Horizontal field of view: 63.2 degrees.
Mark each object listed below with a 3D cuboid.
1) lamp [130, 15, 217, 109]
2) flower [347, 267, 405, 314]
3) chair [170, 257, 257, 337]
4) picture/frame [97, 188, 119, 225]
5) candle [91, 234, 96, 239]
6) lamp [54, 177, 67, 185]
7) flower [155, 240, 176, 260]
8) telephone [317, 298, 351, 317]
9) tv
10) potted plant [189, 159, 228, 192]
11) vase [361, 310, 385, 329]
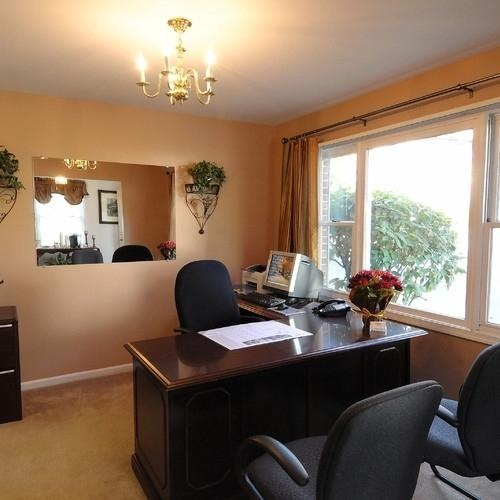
[{"bbox_3d":[-0.388,-1.017,2.203,0.409,0.407,0.457,-2,11,-12],"label":"lamp"},{"bbox_3d":[0.768,0.216,2.529,0.264,0.283,0.272,-1,6,-4],"label":"flower"},{"bbox_3d":[-0.298,0.240,3.052,0.527,0.849,0.485,-7,4,-29],"label":"chair"},{"bbox_3d":[-1.284,-0.400,3.638,0.309,0.376,0.024,-3,5,-38],"label":"picture/frame"},{"bbox_3d":[-1.385,-0.122,3.602,0.022,0.035,0.022,-1,5,-31],"label":"candle"},{"bbox_3d":[-1.598,-0.590,3.435,0.099,0.087,0.052,-1,3,-36],"label":"lamp"},{"bbox_3d":[-0.807,-0.009,4.005,0.197,0.228,0.157,-1,2,-31],"label":"flower"},{"bbox_3d":[0.573,0.397,2.806,0.167,0.060,0.123,-2,5,-4],"label":"telephone"},{"bbox_3d":[0.344,0.194,3.496,0.371,0.440,0.484,-4,3,-30],"label":"tv"},{"bbox_3d":[-0.413,-0.757,3.996,0.309,0.234,0.322,14,17,42],"label":"potted plant"},{"bbox_3d":[0.746,0.422,2.496,0.124,0.098,0.098,0,0,-12],"label":"vase"}]
